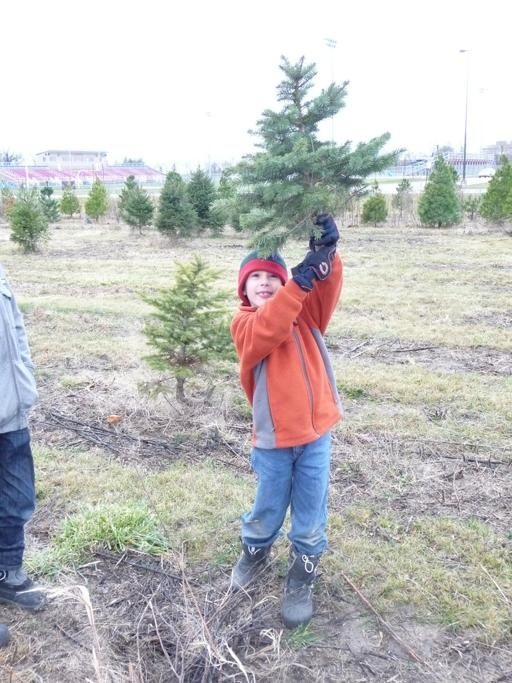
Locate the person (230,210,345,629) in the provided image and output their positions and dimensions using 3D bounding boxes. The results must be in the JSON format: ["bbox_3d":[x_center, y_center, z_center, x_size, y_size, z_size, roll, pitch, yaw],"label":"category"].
[{"bbox_3d":[0.130,0.372,3.016,0.576,1.966,0.508,3,9,8],"label":"person"}]

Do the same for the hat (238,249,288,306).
[{"bbox_3d":[0.019,-0.299,3.053,0.249,0.221,0.284,1,-17,-4],"label":"hat"}]

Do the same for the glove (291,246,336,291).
[{"bbox_3d":[0.293,-0.318,2.773,0.170,0.218,0.081,35,-6,47],"label":"glove"}]

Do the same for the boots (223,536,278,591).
[{"bbox_3d":[-0.033,1.127,3.261,0.121,0.244,0.363,31,36,30],"label":"boots"}]
